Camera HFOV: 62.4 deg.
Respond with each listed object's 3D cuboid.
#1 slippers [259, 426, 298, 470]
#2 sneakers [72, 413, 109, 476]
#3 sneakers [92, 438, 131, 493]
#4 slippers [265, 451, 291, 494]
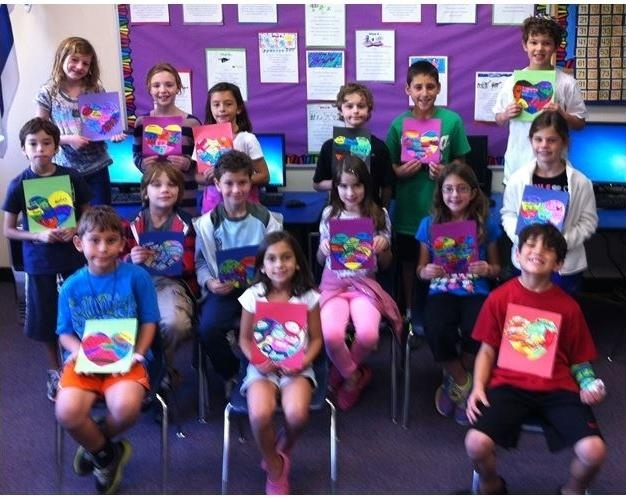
[{"bbox_3d":[-0.135,0.793,2.081,0.098,0.119,0.286,5,-3,3],"label":"slippers"},{"bbox_3d":[-0.932,0.863,2.175,0.119,0.346,0.144,5,15,2],"label":"sneakers"},{"bbox_3d":[-0.825,0.914,2.132,0.098,0.284,0.118,3,11,5],"label":"sneakers"},{"bbox_3d":[-0.152,0.938,2.126,0.073,0.069,0.190,1,33,1],"label":"slippers"}]
